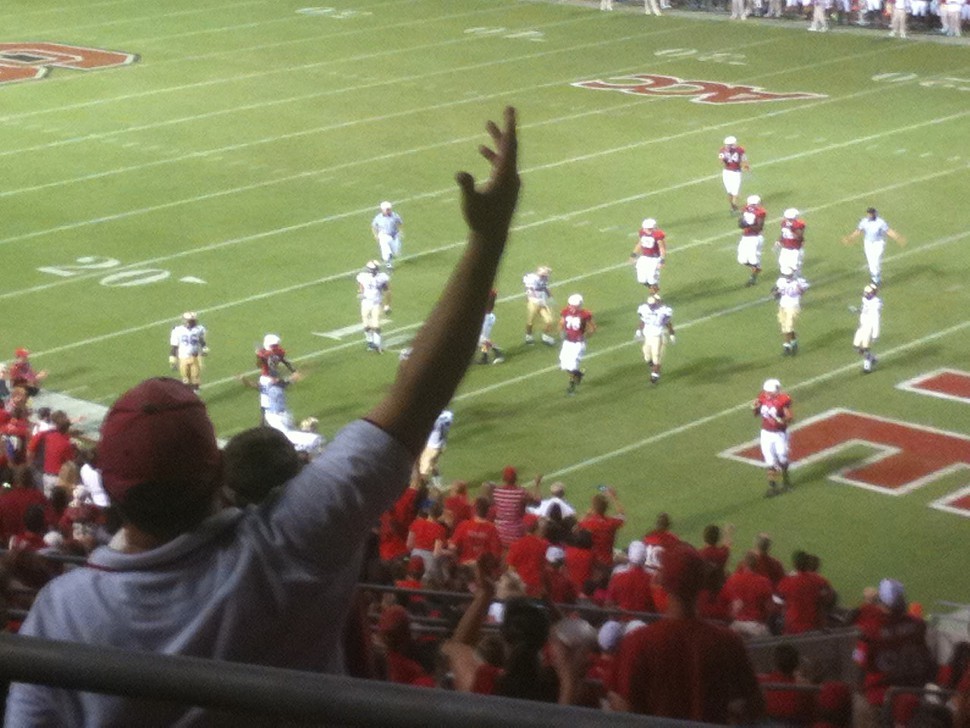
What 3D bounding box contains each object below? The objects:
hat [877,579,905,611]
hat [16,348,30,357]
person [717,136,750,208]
[{"bbox_3d":[4.603,2.535,19.294,0.320,0.271,0.366,-1,-4,0],"label":"hat"},{"bbox_3d":[-7.516,-0.211,28.200,0.149,0.131,0.143,-4,18,-20],"label":"hat"},{"bbox_3d":[5.182,-4.068,35.681,0.846,1.447,0.501,4,-11,-3],"label":"person"}]
